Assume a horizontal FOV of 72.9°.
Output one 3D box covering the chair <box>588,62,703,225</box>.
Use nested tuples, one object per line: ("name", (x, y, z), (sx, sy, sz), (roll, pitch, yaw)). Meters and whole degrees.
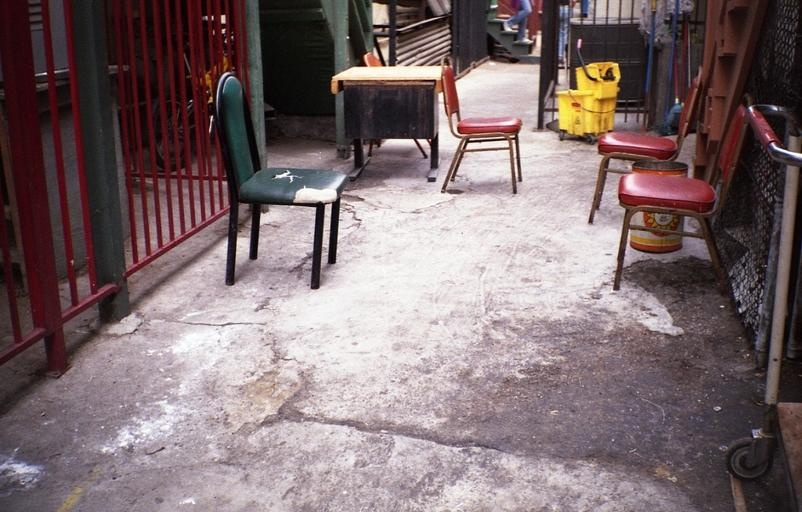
("chair", (2.188, -0.664, 4.233), (0.954, 1.318, 0.764), (3, 63, 30))

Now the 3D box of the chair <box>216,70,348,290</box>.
("chair", (-0.813, -0.524, 3.743), (0.929, 1.275, 0.795), (8, 21, 3))

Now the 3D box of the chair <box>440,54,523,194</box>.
("chair", (0.816, -1.322, 5.453), (0.867, 1.180, 0.699), (3, 24, 11))

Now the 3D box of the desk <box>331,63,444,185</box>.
("desk", (-0.083, -1.421, 5.868), (1.150, 1.002, 0.811), (3, 19, 11))

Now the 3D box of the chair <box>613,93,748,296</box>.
("chair", (1.772, -0.438, 3.524), (0.728, 0.958, 0.609), (1, 26, 22))
